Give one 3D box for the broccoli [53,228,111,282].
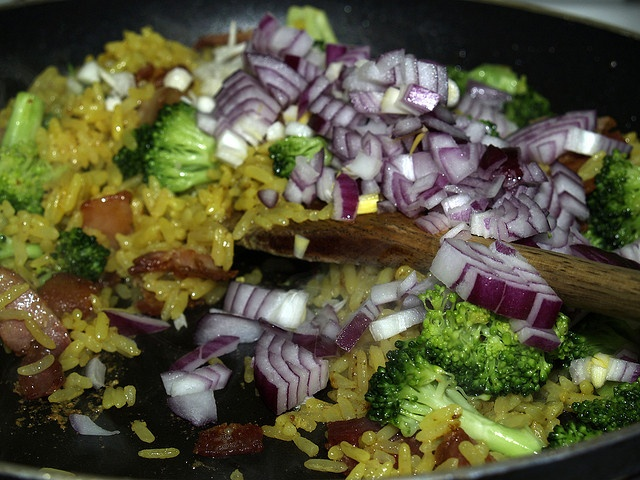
[{"bbox_3d":[-1.341,0.080,3.889,0.269,0.107,0.249,19,82,2],"label":"broccoli"}]
